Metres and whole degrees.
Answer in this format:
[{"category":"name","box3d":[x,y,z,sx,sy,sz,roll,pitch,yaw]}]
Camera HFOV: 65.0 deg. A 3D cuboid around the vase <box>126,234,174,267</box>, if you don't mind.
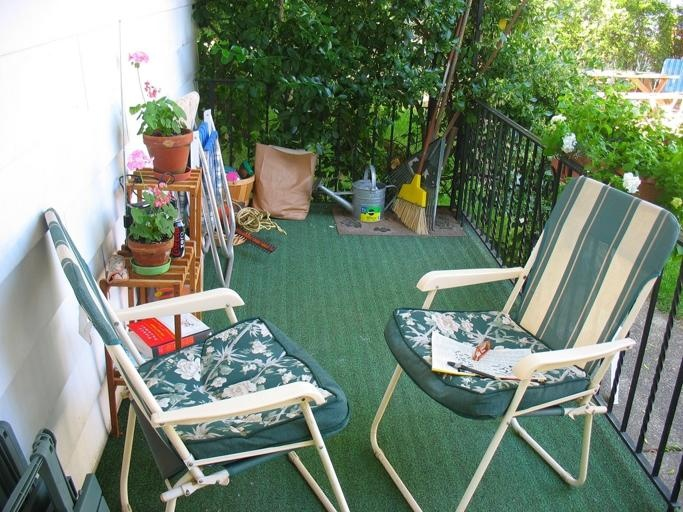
[{"category":"vase","box3d":[-0.820,-0.010,2.280,0.128,0.091,0.137,2,16,-3]}]
